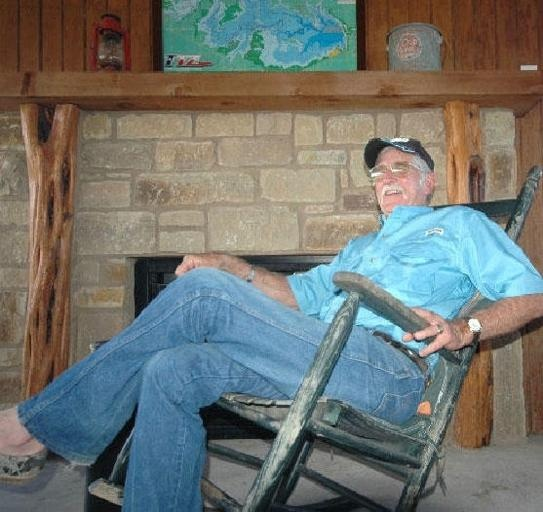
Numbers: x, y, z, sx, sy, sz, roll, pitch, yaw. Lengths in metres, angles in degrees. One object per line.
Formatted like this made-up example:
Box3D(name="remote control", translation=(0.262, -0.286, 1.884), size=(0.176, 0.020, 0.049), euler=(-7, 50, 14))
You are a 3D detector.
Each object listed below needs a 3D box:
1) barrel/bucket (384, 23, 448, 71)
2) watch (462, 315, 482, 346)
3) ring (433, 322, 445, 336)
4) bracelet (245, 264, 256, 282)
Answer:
Box3D(name="barrel/bucket", translation=(0.683, -1.005, 6.216), size=(0.242, 0.187, 0.242), euler=(1, -9, 0))
Box3D(name="watch", translation=(0.776, 0.281, 4.946), size=(0.064, 0.098, 0.088), euler=(2, -32, -12))
Box3D(name="ring", translation=(0.635, 0.274, 4.891), size=(0.015, 0.037, 0.026), euler=(19, -15, -38))
Box3D(name="bracelet", translation=(-0.087, 0.079, 5.580), size=(0.054, 0.058, 0.044), euler=(5, 3, 2))
